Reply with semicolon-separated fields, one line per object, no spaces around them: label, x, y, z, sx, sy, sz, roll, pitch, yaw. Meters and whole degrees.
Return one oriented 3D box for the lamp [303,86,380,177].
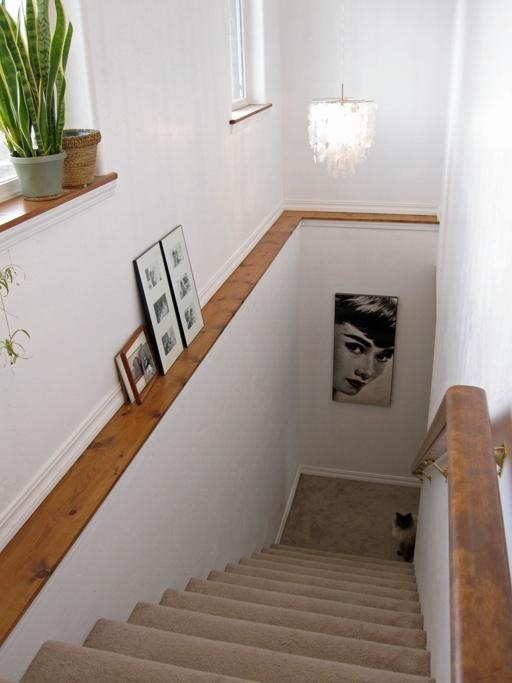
lamp;0.755;-1.804;4.009;0.559;0.624;0.346;1;27;8
